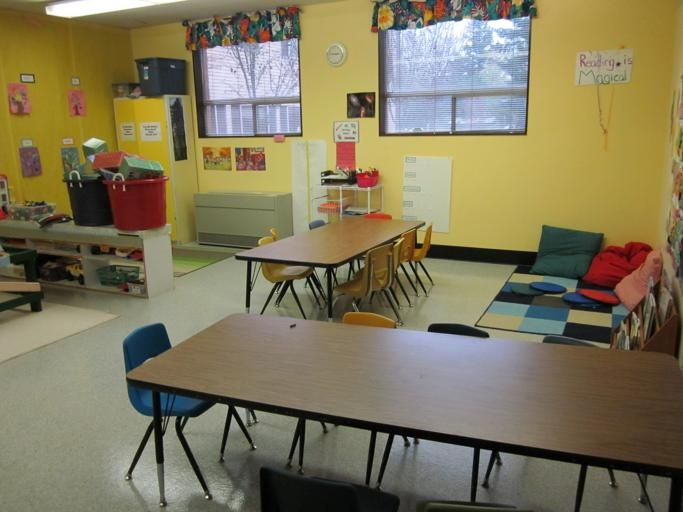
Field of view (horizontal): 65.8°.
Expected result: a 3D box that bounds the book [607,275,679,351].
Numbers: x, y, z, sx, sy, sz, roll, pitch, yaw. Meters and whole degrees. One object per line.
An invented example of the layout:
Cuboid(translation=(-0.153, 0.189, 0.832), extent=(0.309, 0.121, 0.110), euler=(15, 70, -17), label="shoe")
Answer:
Cuboid(translation=(2.455, 0.472, 4.302), extent=(0.298, 0.387, 0.579), euler=(4, 17, 25), label="book")

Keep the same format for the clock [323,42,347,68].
Cuboid(translation=(-0.070, -2.988, 7.813), extent=(0.395, 0.391, 0.055), euler=(5, 8, 31), label="clock")

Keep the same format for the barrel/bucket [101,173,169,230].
Cuboid(translation=(-2.278, -0.642, 6.128), extent=(0.662, 0.629, 0.639), euler=(2, 13, -1), label="barrel/bucket")

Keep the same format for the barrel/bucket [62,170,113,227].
Cuboid(translation=(-2.985, -0.735, 6.543), extent=(0.658, 0.689, 0.635), euler=(0, 11, 0), label="barrel/bucket")

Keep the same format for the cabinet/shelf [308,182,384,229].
Cuboid(translation=(0.128, -0.744, 7.629), extent=(0.783, 0.743, 0.279), euler=(8, 19, 25), label="cabinet/shelf")

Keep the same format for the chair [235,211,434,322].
Cuboid(translation=(-0.006, 0.107, 5.670), extent=(1.104, 0.685, 2.067), euler=(6, 17, 28), label="chair")

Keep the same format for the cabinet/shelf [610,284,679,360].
Cuboid(translation=(2.289, 0.504, 3.986), extent=(0.252, 0.326, 0.490), euler=(4, 16, 23), label="cabinet/shelf")

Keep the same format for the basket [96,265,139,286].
Cuboid(translation=(-2.771, 0.236, 6.602), extent=(0.453, 0.179, 0.290), euler=(3, 11, 22), label="basket")
